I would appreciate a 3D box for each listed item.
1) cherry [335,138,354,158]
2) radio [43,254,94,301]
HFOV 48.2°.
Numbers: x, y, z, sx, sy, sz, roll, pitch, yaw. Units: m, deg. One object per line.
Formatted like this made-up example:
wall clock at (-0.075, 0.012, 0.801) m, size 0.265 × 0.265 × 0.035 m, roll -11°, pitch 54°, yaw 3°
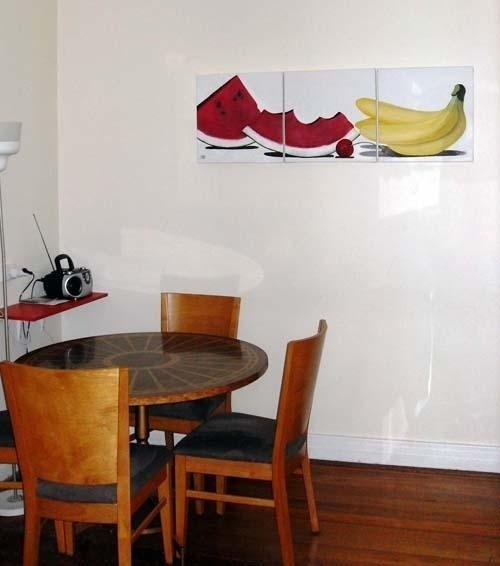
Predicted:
cherry at (0.479, -0.692, 2.857) m, size 0.093 × 0.090 × 0.087 m, roll -3°, pitch 20°, yaw 0°
radio at (-0.916, -0.037, 2.946) m, size 0.250 × 0.238 × 0.243 m, roll 1°, pitch 5°, yaw 11°
